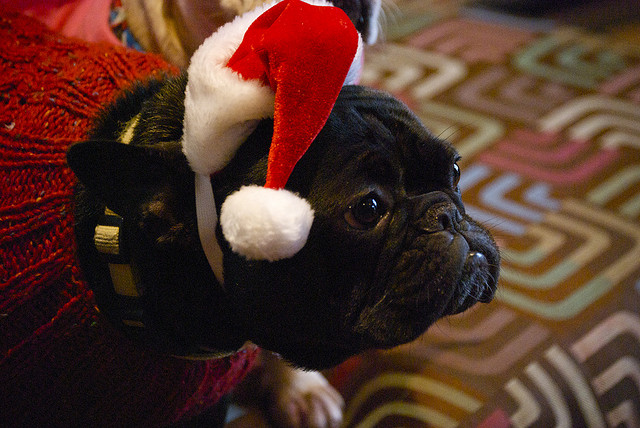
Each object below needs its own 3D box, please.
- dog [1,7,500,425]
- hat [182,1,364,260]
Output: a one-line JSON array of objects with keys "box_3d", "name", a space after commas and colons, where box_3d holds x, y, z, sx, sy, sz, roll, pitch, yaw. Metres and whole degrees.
[{"box_3d": [-0.201, -0.041, 1.334, 0.921, 0.588, 0.772, -12, 70, -6], "name": "dog"}, {"box_3d": [-0.074, -0.131, 1.246, 0.307, 0.200, 0.410, 13, 86, 13], "name": "hat"}]
